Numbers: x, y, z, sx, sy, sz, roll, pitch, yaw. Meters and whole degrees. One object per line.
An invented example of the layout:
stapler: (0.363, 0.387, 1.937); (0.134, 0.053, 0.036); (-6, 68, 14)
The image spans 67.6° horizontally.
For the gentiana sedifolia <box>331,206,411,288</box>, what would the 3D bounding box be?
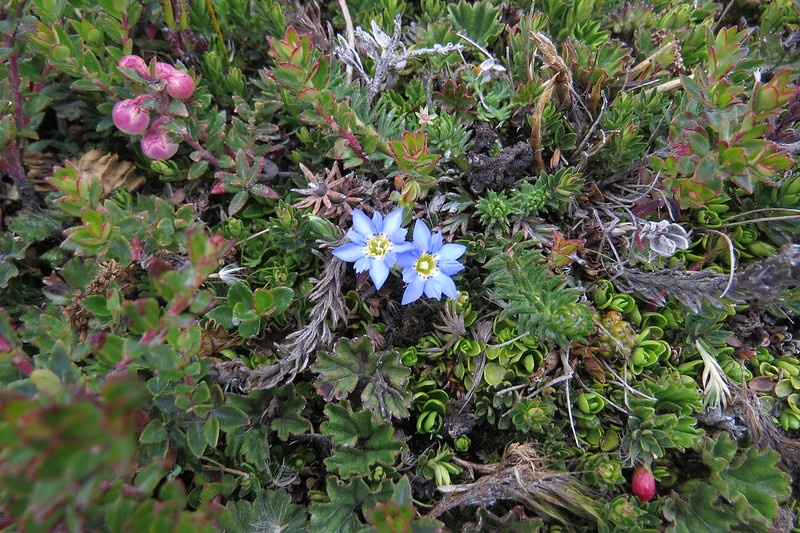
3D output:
gentiana sedifolia: (-0.144, -0.130, 3.313); (0.329, 0.352, 0.448); (23, 81, 2)

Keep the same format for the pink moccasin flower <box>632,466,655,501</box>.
pink moccasin flower: (1.298, 1.146, 3.227); (0.110, 0.105, 0.187); (-5, 92, -30)

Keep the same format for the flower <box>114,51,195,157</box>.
flower: (-1.357, -0.874, 3.316); (0.370, 0.365, 0.479); (13, 81, 0)

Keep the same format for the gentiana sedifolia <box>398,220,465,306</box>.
gentiana sedifolia: (0.186, -0.060, 3.273); (0.365, 0.322, 0.164); (-22, 81, 39)
